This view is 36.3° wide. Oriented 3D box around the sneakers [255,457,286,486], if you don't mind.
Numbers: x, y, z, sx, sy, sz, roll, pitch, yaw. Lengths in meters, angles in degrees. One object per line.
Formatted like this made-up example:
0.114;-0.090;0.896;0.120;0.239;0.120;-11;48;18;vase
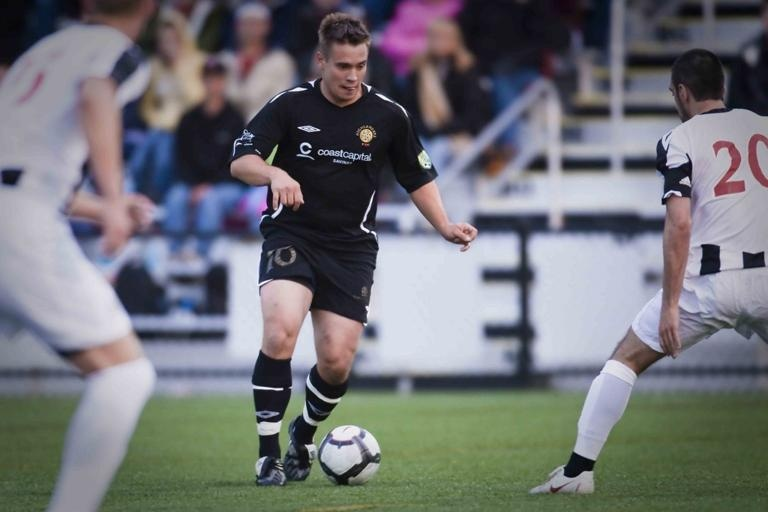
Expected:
-0.716;1.379;7.475;0.112;0.104;0.232;2;-22;-9;sneakers

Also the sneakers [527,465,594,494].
1.102;1.412;7.381;0.446;0.201;0.161;0;-11;4;sneakers

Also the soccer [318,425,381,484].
-0.222;1.317;7.635;0.393;0.326;0.194;0;2;-4;soccer

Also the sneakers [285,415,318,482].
-0.553;1.305;7.817;0.151;0.463;0.185;4;1;-21;sneakers
